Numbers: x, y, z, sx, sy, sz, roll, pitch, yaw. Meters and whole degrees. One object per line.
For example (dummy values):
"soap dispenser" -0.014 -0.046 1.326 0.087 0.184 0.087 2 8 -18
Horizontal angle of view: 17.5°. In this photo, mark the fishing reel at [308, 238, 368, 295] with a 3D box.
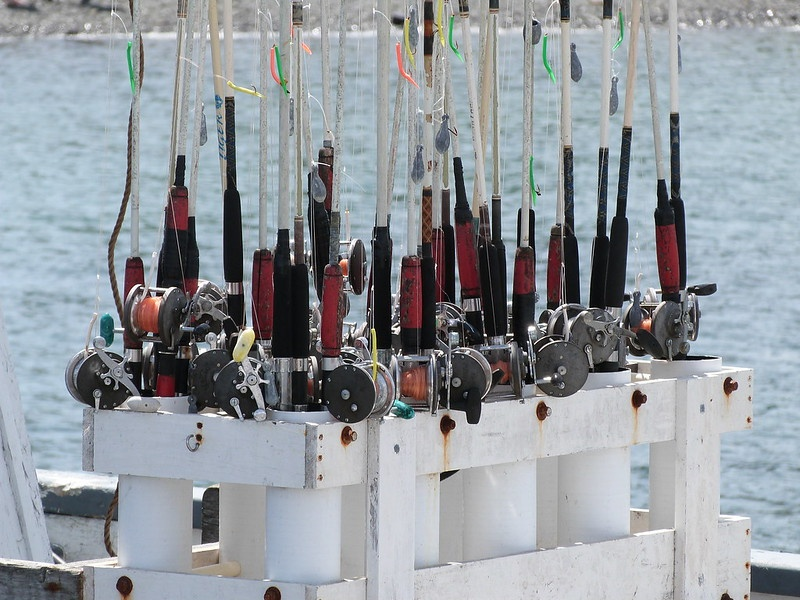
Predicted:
"fishing reel" -0.296 -0.216 16.055 0.365 0.396 0.377 -1 7 -30

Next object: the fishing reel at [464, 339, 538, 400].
"fishing reel" 0.624 0.374 15.234 0.363 0.307 0.321 -2 8 4

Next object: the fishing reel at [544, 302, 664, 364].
"fishing reel" 1.214 0.194 15.422 0.449 0.265 0.451 5 9 -31

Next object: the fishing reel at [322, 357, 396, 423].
"fishing reel" -0.223 0.457 14.971 0.401 0.432 0.319 8 7 22

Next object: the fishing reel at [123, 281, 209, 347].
"fishing reel" -1.401 0.071 15.125 0.371 0.344 0.289 5 0 30

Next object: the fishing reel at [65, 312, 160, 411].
"fishing reel" -1.707 0.345 15.091 0.387 0.553 0.315 4 -5 -29

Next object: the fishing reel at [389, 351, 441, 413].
"fishing reel" 0.121 0.461 15.058 0.267 0.329 0.254 -1 9 1

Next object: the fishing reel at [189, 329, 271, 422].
"fishing reel" -0.978 0.399 14.964 0.496 0.511 0.183 4 10 33
